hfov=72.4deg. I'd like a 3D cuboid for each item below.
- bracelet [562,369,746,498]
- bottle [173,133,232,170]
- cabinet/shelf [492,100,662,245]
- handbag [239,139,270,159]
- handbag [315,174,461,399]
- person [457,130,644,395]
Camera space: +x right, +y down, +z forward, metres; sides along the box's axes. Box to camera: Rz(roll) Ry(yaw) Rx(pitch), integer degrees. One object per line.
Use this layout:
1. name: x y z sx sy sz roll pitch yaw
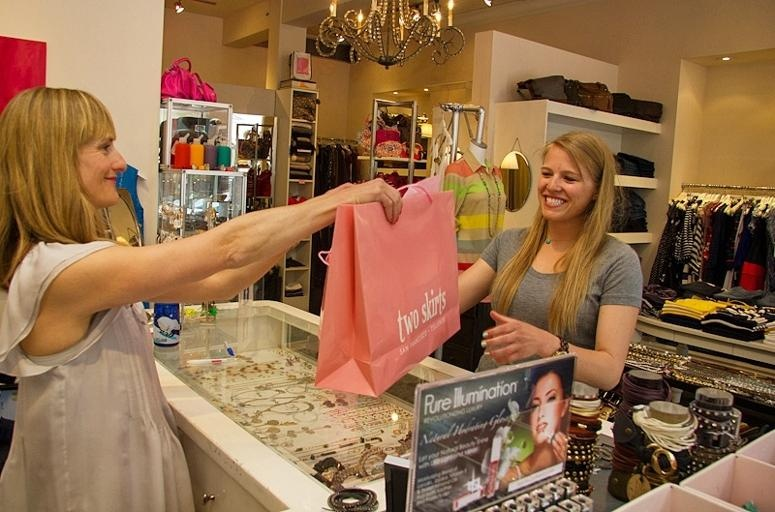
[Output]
1. bracelet: 0.827 0.577 1.714 0.474 0.236 0.366 -11 15 -34
2. bottle: -1.443 -0.807 4.245 0.438 0.321 0.240 2 2 -32
3. cabinet/shelf: 1.580 -0.796 4.565 1.873 1.353 0.608 -1 2 -33
4. handbag: -2.029 -1.630 8.026 0.298 0.277 0.101 -3 20 -29
5. handbag: 0.027 0.087 1.565 0.147 0.526 0.546 9 13 34
6. person: 0.707 -0.030 2.317 0.743 1.011 0.558 11 14 39
